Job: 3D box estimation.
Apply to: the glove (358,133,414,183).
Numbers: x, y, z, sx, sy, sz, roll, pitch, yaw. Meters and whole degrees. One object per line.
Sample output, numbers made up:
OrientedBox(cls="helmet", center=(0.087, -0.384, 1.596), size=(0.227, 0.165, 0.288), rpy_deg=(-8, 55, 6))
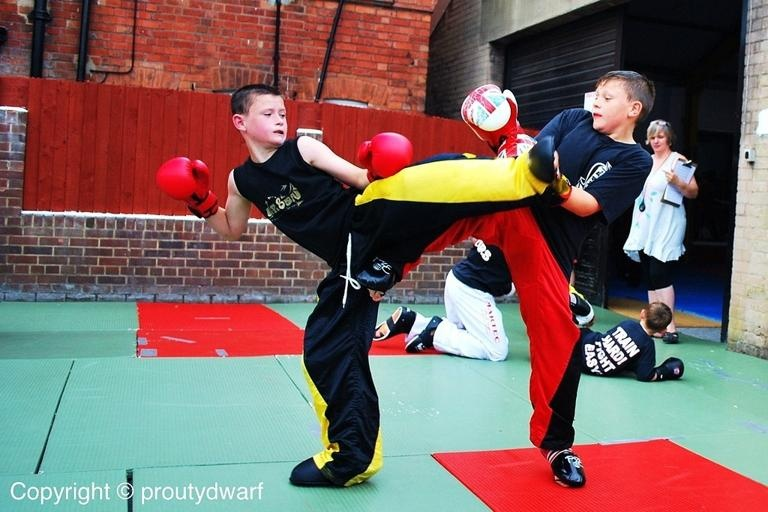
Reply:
OrientedBox(cls="glove", center=(0.032, -0.656, 3.967), size=(0.379, 0.318, 0.307), rpy_deg=(1, 18, 34))

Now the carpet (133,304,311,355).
OrientedBox(cls="carpet", center=(-2.028, 0.839, 7.317), size=(1.916, 0.056, 3.049), rpy_deg=(4, 1, -13))

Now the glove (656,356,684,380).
OrientedBox(cls="glove", center=(2.770, 1.090, 5.973), size=(0.281, 0.180, 0.118), rpy_deg=(-11, 8, -29))

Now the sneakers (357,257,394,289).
OrientedBox(cls="sneakers", center=(-0.046, 0.121, 3.972), size=(0.252, 0.219, 0.178), rpy_deg=(3, 9, 0))

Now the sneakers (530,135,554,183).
OrientedBox(cls="sneakers", center=(0.975, -0.579, 3.731), size=(0.170, 0.278, 0.113), rpy_deg=(5, 9, 14))
